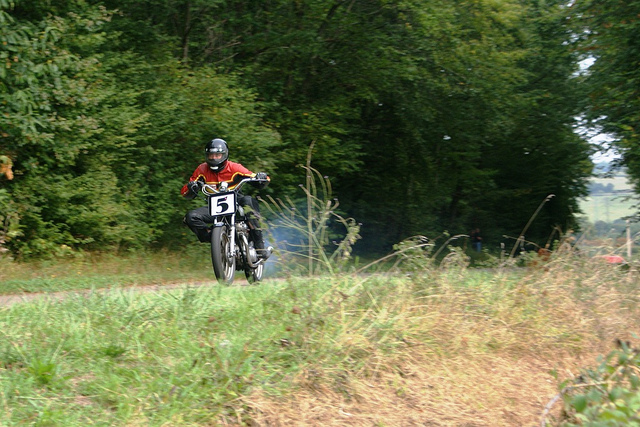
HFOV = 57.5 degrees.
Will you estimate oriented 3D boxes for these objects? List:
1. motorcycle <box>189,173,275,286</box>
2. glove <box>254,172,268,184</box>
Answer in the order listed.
[{"bbox_3d":[-1.418,0.259,9.967,1.296,1.616,1.279,2,1,-15],"label":"motorcycle"},{"bbox_3d":[-1.031,-0.631,10.265,0.211,0.166,0.088,2,-2,-11],"label":"glove"}]
